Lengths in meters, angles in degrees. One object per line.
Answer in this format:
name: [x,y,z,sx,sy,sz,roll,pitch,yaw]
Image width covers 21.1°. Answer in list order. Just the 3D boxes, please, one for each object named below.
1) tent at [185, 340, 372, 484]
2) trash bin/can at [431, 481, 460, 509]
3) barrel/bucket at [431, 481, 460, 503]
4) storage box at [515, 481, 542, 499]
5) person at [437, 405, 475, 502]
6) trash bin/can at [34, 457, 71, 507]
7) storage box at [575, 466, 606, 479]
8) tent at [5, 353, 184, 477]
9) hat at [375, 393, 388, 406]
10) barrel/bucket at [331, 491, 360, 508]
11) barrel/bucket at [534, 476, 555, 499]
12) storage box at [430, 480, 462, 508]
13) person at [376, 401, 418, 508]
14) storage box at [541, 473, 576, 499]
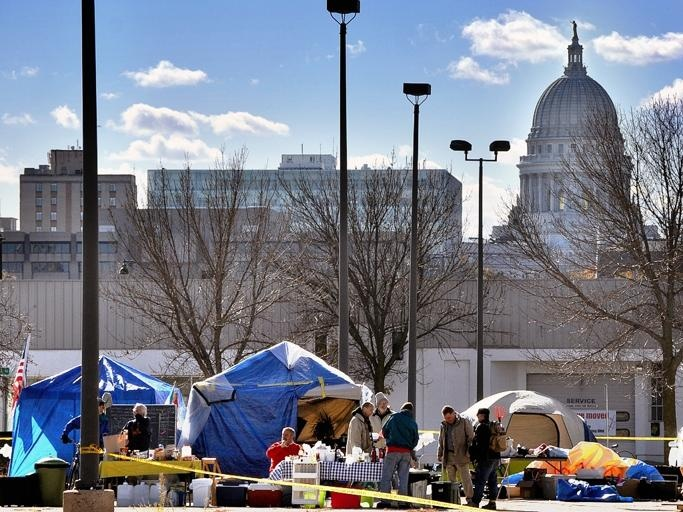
tent: [-2.821,5.272,62.358,5.780,4.240,5.654,2,-10,-21]
trash bin/can: [3.050,7.119,54.437,0.684,0.666,0.693,-2,-6,17]
barrel/bucket: [3.035,7.031,54.458,0.662,0.632,0.667,0,-6,0]
storage box: [6.053,7.570,58.950,0.729,0.506,0.517,1,1,24]
person: [3.367,6.014,54.818,1.063,2.880,0.753,-8,-14,18]
trash bin/can: [-8.738,6.859,55.352,0.934,1.439,0.422,1,-6,-9]
storage box: [7.975,7.005,58.953,0.736,0.404,0.495,-1,-7,8]
tent: [-8.782,5.477,62.810,4.337,3.325,4.333,0,-7,-3]
hat: [1.266,4.607,58.399,0.379,0.416,0.494,0,-3,-7]
barrel/bucket: [0.084,7.258,54.152,0.548,0.389,0.550,1,-3,0]
barrel/bucket: [6.537,7.480,58.847,0.776,0.624,0.629,-6,-12,38]
storage box: [3.027,7.093,54.236,0.689,0.648,0.685,0,-4,4]
person: [1.629,5.896,54.125,1.246,3.087,0.992,2,-6,-14]
storage box: [6.753,7.389,58.464,0.768,0.592,0.772,-2,-4,16]
